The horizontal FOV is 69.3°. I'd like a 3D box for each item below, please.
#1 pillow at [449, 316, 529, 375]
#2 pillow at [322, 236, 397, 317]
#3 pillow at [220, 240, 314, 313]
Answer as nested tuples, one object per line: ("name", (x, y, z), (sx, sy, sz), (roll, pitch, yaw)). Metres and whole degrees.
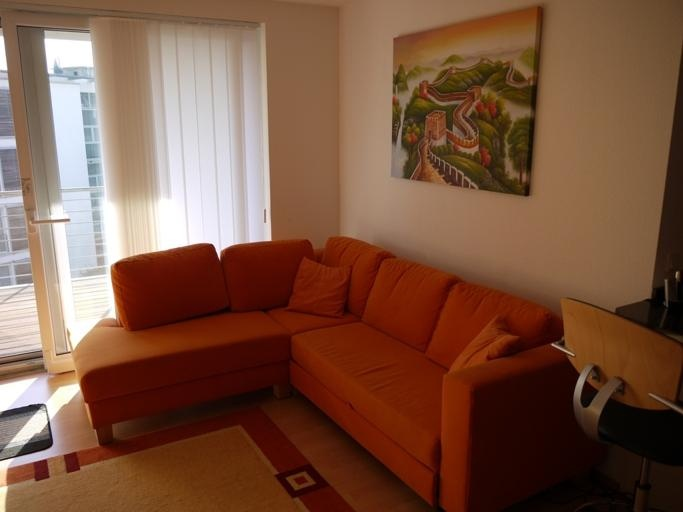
("pillow", (0.824, 0.524, 2.756), (0.329, 0.255, 0.284), (-9, 16, -21))
("pillow", (0.220, 0.212, 4.107), (0.238, 0.608, 0.598), (9, 13, -33))
("pillow", (-0.623, 0.174, 4.045), (0.557, 0.581, 0.232), (2, -5, -18))
